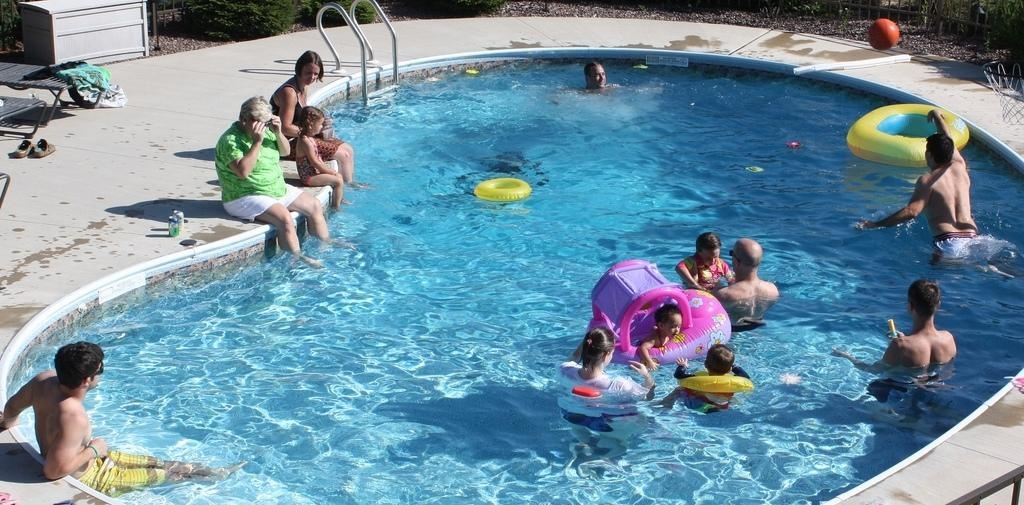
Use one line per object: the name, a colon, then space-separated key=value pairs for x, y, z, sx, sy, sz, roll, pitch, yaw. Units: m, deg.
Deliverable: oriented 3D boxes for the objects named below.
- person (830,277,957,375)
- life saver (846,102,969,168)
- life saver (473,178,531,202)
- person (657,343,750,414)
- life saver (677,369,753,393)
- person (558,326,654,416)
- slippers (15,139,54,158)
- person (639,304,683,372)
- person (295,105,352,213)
person: x=5.648 y=1.082 z=10.306 sx=1.237 sy=1.382 sz=0.741 roll=11 pitch=33 yaw=24
life saver: x=8.038 y=-2.502 z=14.982 sx=2.084 sy=0.412 sz=1.801 roll=-19 pitch=29 yaw=-27
life saver: x=-0.161 y=-1.209 z=13.955 sx=0.771 sy=0.122 sz=0.621 roll=4 pitch=20 yaw=13
person: x=2.889 y=1.728 z=10.412 sx=1.323 sy=0.898 sz=1.217 roll=0 pitch=-1 yaw=6
life saver: x=2.817 y=1.757 z=9.908 sx=0.544 sy=0.095 sz=0.432 roll=2 pitch=11 yaw=0
person: x=1.339 y=1.614 z=10.381 sx=1.344 sy=1.204 sz=0.985 roll=1 pitch=0 yaw=-7
slippers: x=-8.763 y=-1.920 z=13.420 sx=0.495 sy=0.145 sz=0.527 roll=-1 pitch=12 yaw=-7
person: x=2.191 y=1.205 z=10.505 sx=0.799 sy=0.842 sz=0.573 roll=0 pitch=0 yaw=-1
person: x=-3.445 y=-1.687 z=13.577 sx=1.472 sy=1.911 sz=1.002 roll=-5 pitch=33 yaw=-27
